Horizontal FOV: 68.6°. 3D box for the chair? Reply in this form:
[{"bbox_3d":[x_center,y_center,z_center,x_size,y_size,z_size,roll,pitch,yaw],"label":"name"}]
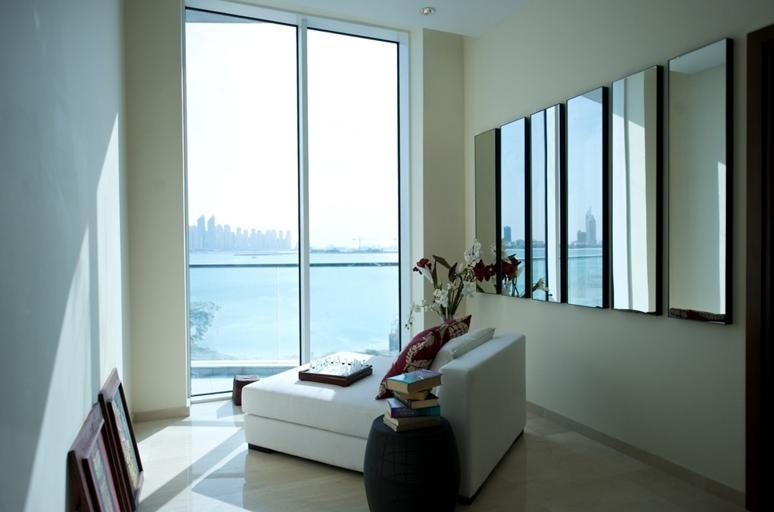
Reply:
[{"bbox_3d":[-0.009,1.077,4.401,2.002,0.963,0.965,3,11,19],"label":"chair"}]

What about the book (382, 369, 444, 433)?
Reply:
[{"bbox_3d":[0.165,0.954,3.707,0.390,0.294,0.241,-3,11,-10],"label":"book"}]

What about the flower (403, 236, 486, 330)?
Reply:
[{"bbox_3d":[0.543,0.255,5.724,0.778,1.051,0.845,0,3,-25],"label":"flower"}]

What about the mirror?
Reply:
[{"bbox_3d":[1.736,-0.562,4.468,0.053,1.762,2.606,-1,1,-29],"label":"mirror"}]
